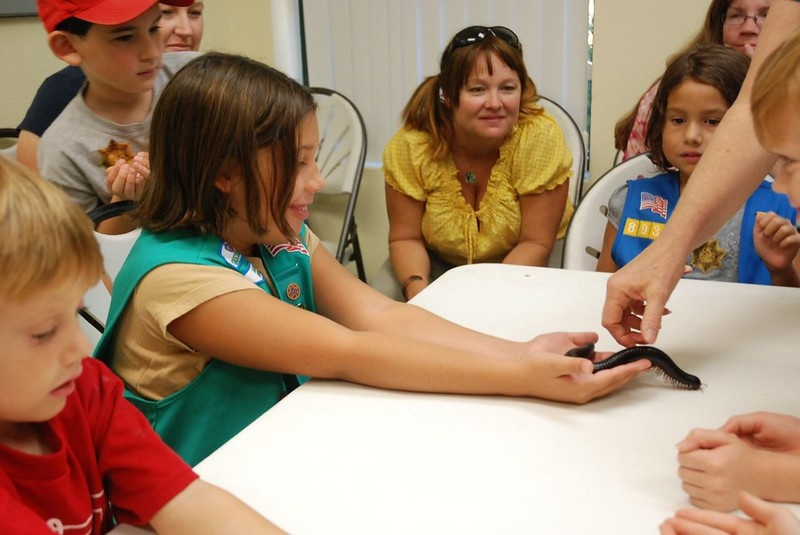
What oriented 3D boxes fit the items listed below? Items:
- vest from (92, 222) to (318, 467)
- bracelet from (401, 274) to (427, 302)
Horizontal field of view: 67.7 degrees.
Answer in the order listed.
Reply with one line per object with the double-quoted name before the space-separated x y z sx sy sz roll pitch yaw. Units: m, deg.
"vest" -0.375 0.171 1.387 0.470 0.527 0.380 17 20 35
"bracelet" 0.050 0.073 2.063 0.069 0.094 0.041 18 -12 -31
